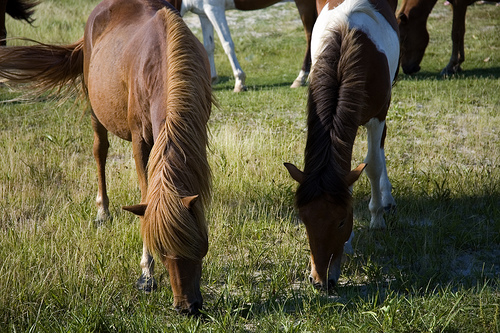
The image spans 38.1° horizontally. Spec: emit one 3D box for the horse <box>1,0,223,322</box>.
[{"bbox_3d":[-1.813,-0.300,9.743,1.864,3.727,3.941,-9,17,-38],"label":"horse"}]

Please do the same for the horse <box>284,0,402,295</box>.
[{"bbox_3d":[1.286,-0.342,9.627,1.009,3.596,2.218,7,14,26],"label":"horse"}]
